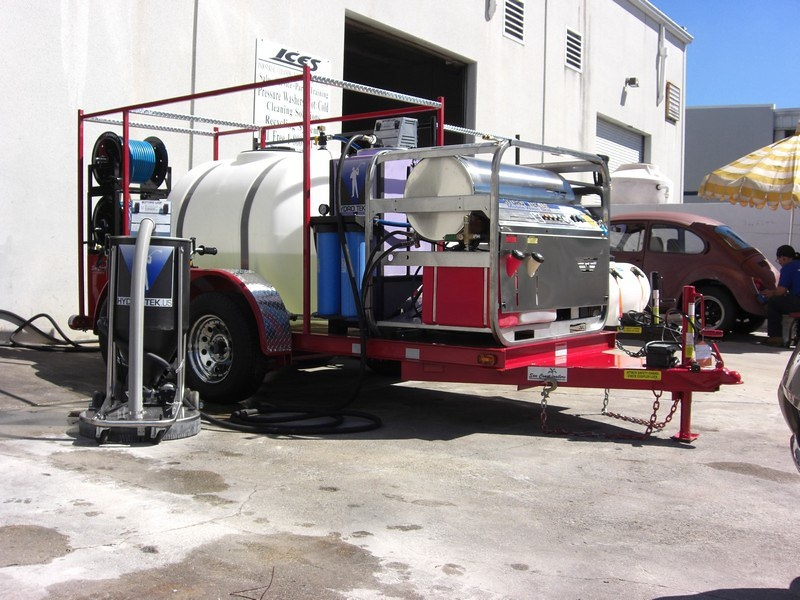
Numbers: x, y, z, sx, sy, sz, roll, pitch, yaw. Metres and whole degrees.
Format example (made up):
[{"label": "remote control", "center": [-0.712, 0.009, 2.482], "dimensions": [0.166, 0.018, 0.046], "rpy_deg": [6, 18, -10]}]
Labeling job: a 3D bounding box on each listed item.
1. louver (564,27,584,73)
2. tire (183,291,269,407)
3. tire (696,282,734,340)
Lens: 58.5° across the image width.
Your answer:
[{"label": "louver", "center": [4.802, -6.934, 19.752], "dimensions": [0.100, 1.408, 1.356], "rpy_deg": [4, 1, 36]}, {"label": "tire", "center": [-1.625, 0.445, 6.646], "dimensions": [1.026, 1.202, 0.379], "rpy_deg": [2, 1, 41]}, {"label": "tire", "center": [5.338, 0.207, 12.159], "dimensions": [0.254, 0.771, 0.738], "rpy_deg": [-11, 11, -36]}]
